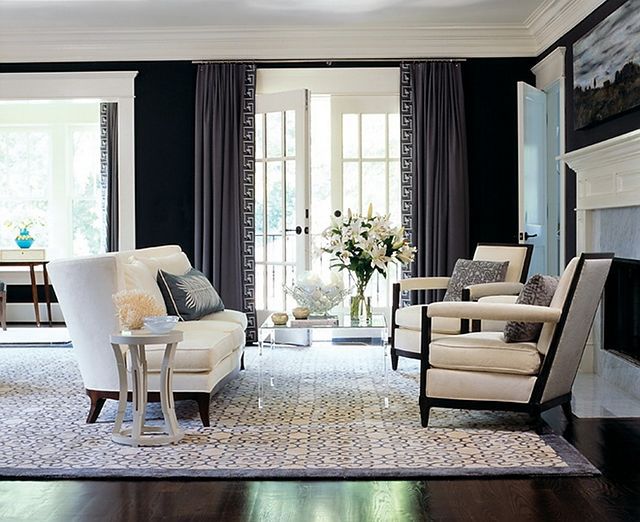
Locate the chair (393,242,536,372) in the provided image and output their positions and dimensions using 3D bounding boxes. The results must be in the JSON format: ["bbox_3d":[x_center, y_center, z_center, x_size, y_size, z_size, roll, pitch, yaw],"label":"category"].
[{"bbox_3d":[1.123,0.350,4.110,0.970,0.882,0.777,-3,2,-30],"label":"chair"}]

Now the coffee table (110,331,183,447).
[{"bbox_3d":[-0.904,0.631,2.776,0.353,0.587,0.446,-1,3,-16],"label":"coffee table"}]

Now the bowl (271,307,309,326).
[{"bbox_3d":[-0.189,0.356,3.436,0.251,0.104,0.176,0,2,-3],"label":"bowl"}]

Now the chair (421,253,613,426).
[{"bbox_3d":[1.140,0.474,3.053,1.014,0.776,0.823,-6,-14,25],"label":"chair"}]

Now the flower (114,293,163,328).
[{"bbox_3d":[-0.941,0.244,2.704,0.216,0.198,0.097,-1,-39,-17],"label":"flower"}]

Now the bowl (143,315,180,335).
[{"bbox_3d":[-0.813,0.319,2.680,0.172,0.082,0.151,-1,2,-11],"label":"bowl"}]

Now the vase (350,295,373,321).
[{"bbox_3d":[0.272,0.332,3.629,0.157,0.159,0.154,-3,-4,34],"label":"vase"}]

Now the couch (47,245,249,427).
[{"bbox_3d":[-1.124,0.462,3.851,1.075,0.841,1.942,2,-3,-2],"label":"couch"}]

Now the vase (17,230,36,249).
[{"bbox_3d":[-3.820,-0.282,6.857,0.256,0.240,0.252,-4,8,-40],"label":"vase"}]

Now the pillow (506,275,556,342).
[{"bbox_3d":[1.236,0.256,3.100,0.303,0.384,0.588,-4,2,29],"label":"pillow"}]

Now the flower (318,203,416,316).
[{"bbox_3d":[0.329,0.004,3.593,0.634,0.744,0.329,0,3,0],"label":"flower"}]
